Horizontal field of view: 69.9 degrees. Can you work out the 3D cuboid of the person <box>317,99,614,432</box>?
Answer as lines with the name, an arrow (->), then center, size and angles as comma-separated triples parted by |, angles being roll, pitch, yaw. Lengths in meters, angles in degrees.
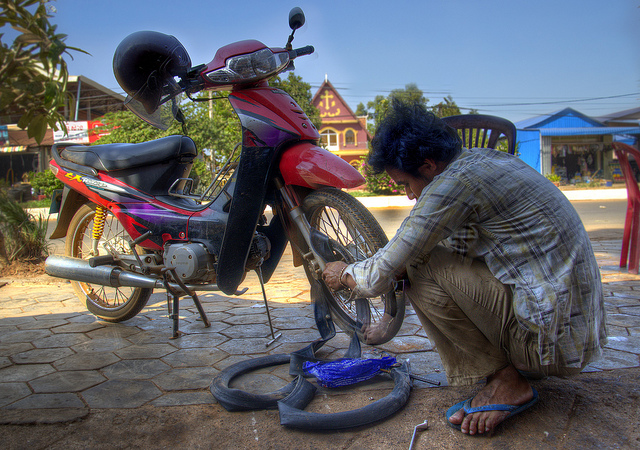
person -> 0.691, 0.192, 2.634 | 1.609, 1.544, 0.862 | -5, 2, 25

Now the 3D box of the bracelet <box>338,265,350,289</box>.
bracelet -> 0.126, 0.297, 2.522 | 0.056, 0.124, 0.090 | -2, 8, -4

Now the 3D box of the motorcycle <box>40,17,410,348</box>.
motorcycle -> -0.859, -0.242, 3.336 | 3.068, 2.034, 0.964 | 0, 7, 24
